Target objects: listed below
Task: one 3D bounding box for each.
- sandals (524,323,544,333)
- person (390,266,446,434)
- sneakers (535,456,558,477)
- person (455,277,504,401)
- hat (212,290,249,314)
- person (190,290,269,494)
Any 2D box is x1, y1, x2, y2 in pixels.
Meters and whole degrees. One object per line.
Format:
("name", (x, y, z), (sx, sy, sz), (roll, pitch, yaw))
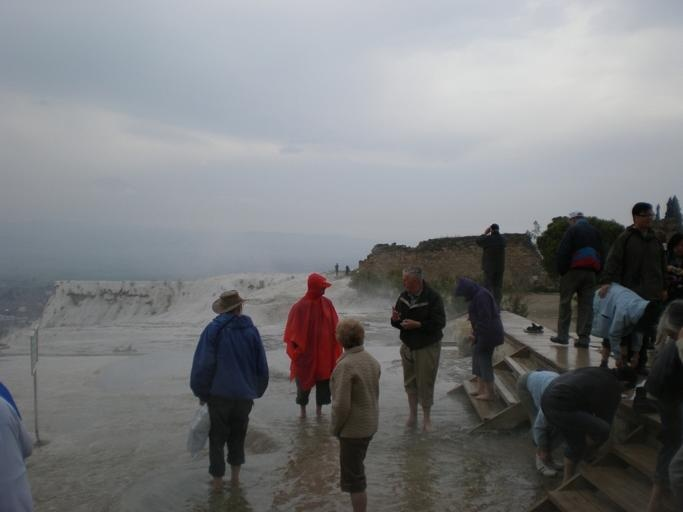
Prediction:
("sandals", (3.990, 1.513, 10.757), (0.226, 0.119, 0.335), (0, -10, 7))
("person", (1.067, 1.408, 7.336), (0.729, 2.123, 0.458), (0, 3, 1))
("sneakers", (2.336, 2.428, 5.975), (0.104, 0.134, 0.327), (-3, -4, -31))
("person", (2.158, 1.273, 8.074), (0.661, 1.894, 1.035), (1, 2, 16))
("hat", (-1.314, 0.585, 6.180), (0.289, 0.124, 0.324), (13, 24, 34))
("person", (-1.305, 1.532, 6.012), (0.868, 2.215, 0.427), (-1, 3, -15))
